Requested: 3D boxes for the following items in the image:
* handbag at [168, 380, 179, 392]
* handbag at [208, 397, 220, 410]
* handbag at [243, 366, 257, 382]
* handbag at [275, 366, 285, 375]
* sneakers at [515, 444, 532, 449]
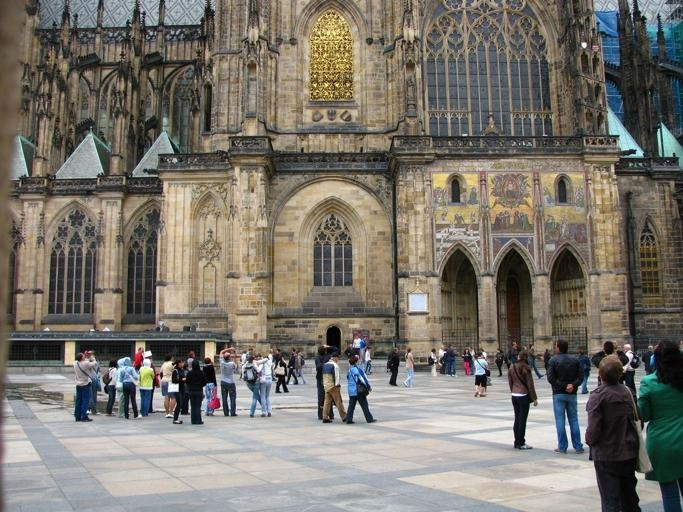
[{"bbox_3d":[-5.183,4.087,26.500,0.360,0.116,0.273,5,5,-10],"label":"handbag"},{"bbox_3d":[-4.122,4.783,27.653,0.364,0.387,0.186,7,-12,-37],"label":"handbag"},{"bbox_3d":[-2.884,3.751,27.035,0.585,0.502,0.251,-1,1,41],"label":"handbag"},{"bbox_3d":[-2.338,4.444,32.940,0.382,0.405,0.199,2,4,-1],"label":"handbag"},{"bbox_3d":[4.639,4.906,21.799,0.392,0.175,0.149,0,1,-9],"label":"sneakers"}]
